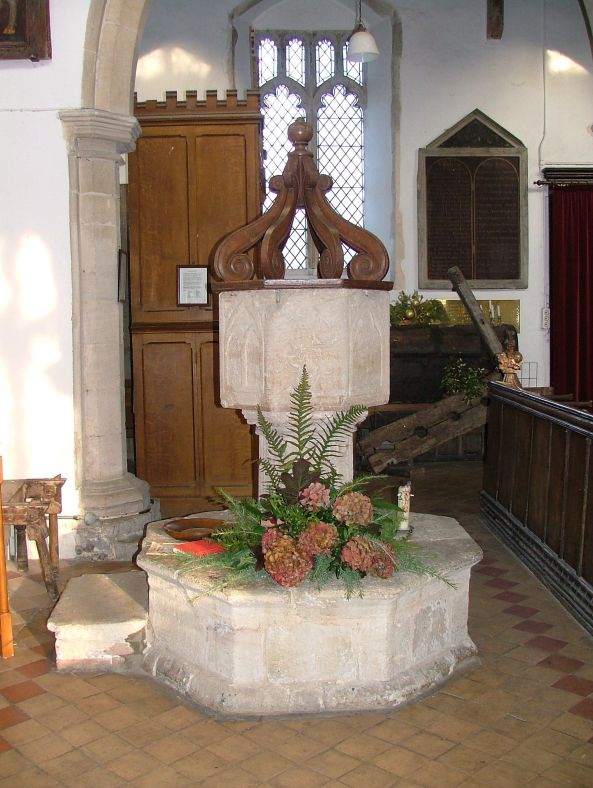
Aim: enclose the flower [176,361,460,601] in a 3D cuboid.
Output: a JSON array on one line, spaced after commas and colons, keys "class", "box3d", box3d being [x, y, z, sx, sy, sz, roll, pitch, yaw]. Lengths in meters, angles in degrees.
[{"class": "flower", "box3d": [0.045, 0.289, 3.285, 0.949, 0.767, 0.661, -1, 6, -7]}]
